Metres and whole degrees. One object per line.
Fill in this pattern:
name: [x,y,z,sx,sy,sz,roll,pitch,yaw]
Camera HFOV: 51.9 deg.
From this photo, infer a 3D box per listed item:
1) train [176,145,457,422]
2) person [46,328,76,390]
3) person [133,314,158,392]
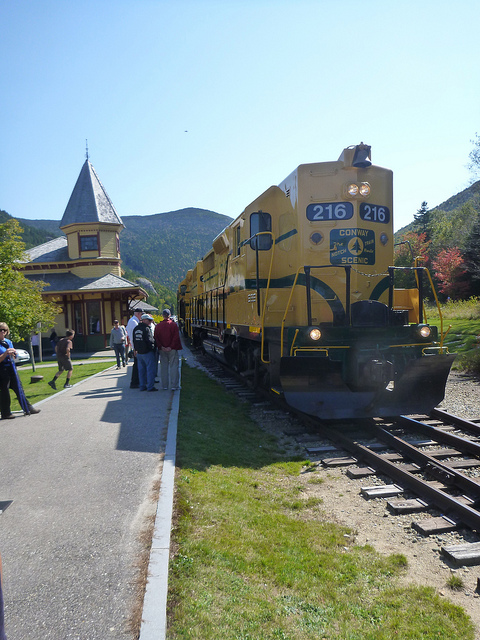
train: [1.059,-0.555,9.559,2.400,4.352,5.497,-4,2,-14]
person: [-5.959,1.305,16.412,0.836,2.088,0.902,22,25,36]
person: [-2.048,0.706,10.751,0.604,1.694,0.520,2,8,26]
